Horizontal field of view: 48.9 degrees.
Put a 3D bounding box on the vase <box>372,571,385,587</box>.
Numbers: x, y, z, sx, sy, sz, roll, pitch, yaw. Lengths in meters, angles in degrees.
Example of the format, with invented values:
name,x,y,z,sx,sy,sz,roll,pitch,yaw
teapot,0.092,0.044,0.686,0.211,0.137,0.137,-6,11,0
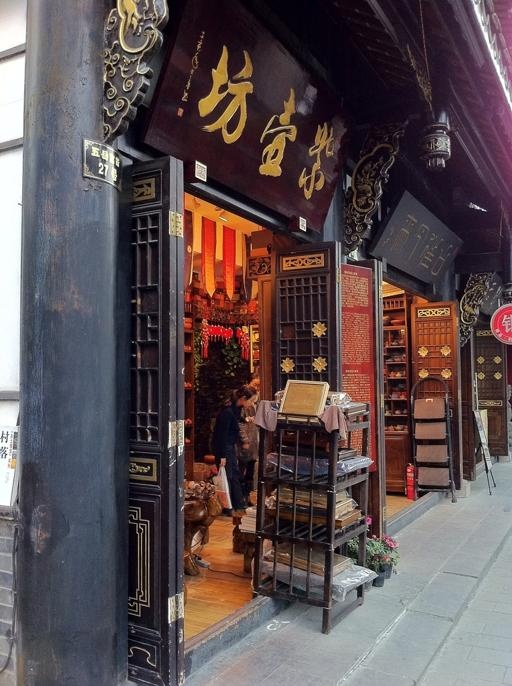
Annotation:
name,x,y,z,sx,sy,sz,roll,pitch,yaw
vase,0.824,1.563,3.749,0.057,0.092,0.156,-1,-6,38

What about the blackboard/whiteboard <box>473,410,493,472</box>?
name,x,y,z,sx,sy,sz,roll,pitch,yaw
blackboard/whiteboard,3.451,1.499,8.644,0.060,1.261,1.159,-11,-7,24

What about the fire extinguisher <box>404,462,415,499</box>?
name,x,y,z,sx,sy,sz,roll,pitch,yaw
fire extinguisher,1.765,1.595,6.447,0.097,0.382,0.168,0,-5,21

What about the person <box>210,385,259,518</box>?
name,x,y,z,sx,sy,sz,roll,pitch,yaw
person,-0.222,0.996,5.224,0.396,1.188,0.371,1,-5,13

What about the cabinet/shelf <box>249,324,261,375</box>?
name,x,y,z,sx,sy,sz,roll,pitch,yaw
cabinet/shelf,-0.036,0.092,8.820,0.111,0.755,0.428,2,-4,3

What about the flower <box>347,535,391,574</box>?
name,x,y,z,sx,sy,sz,roll,pitch,yaw
flower,0.767,1.412,3.808,0.275,0.162,0.302,1,5,12

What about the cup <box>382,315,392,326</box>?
name,x,y,z,sx,sy,sz,roll,pitch,yaw
cup,1.694,-0.302,7.324,0.116,0.095,0.121,-1,6,0

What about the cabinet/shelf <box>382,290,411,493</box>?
name,x,y,z,sx,sy,sz,roll,pitch,yaw
cabinet/shelf,1.753,0.595,7.081,0.355,2.526,0.521,1,-4,12
